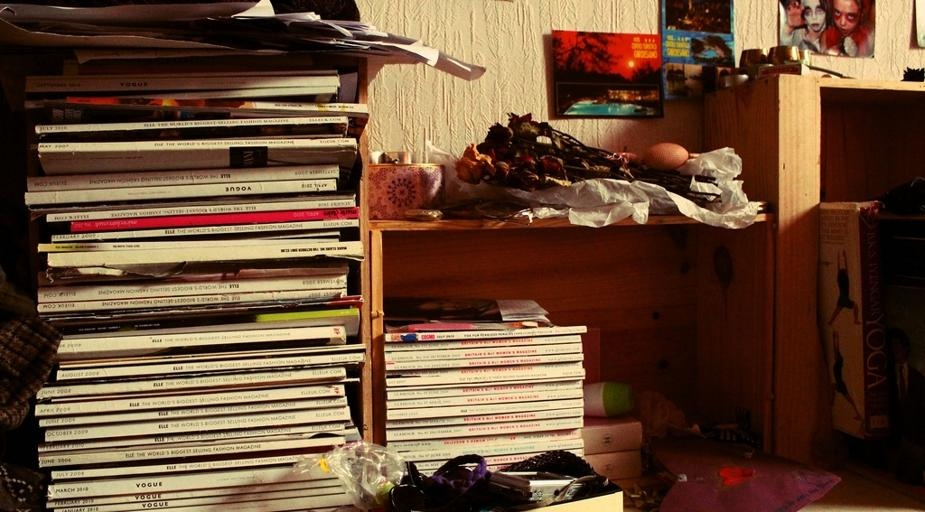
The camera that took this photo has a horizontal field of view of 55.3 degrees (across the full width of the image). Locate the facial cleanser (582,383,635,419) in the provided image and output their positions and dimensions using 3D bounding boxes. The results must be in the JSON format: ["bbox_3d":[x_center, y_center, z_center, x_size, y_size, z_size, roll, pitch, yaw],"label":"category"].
[{"bbox_3d":[0.387,0.372,2.257,0.061,0.104,0.057,19,-37,-19],"label":"facial cleanser"}]
